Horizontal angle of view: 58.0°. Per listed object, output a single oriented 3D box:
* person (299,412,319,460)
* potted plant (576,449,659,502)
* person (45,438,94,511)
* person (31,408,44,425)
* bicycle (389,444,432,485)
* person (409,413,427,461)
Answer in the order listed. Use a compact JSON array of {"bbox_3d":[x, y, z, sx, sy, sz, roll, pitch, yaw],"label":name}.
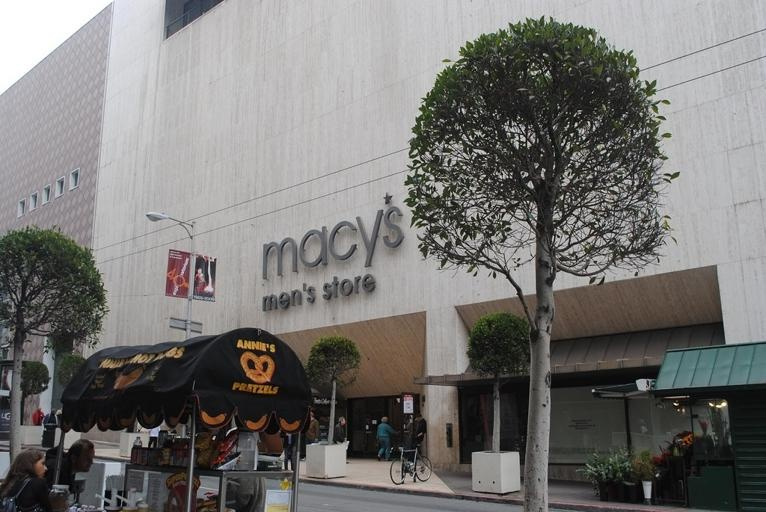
[{"bbox_3d":[-3.281,7.571,29.351,0.808,2.899,0.654,-2,24,-20],"label":"person"},{"bbox_3d":[7.701,6.964,22.096,1.619,1.381,1.552,-4,-13,20],"label":"potted plant"},{"bbox_3d":[-7.203,4.918,15.872,1.574,1.375,0.677,-15,-21,39],"label":"person"},{"bbox_3d":[-20.818,9.597,41.769,0.521,1.066,1.783,6,-19,-23],"label":"person"},{"bbox_3d":[0.962,7.621,25.305,0.892,1.249,1.997,-10,-19,27],"label":"bicycle"},{"bbox_3d":[1.403,7.295,27.848,0.728,2.289,0.913,4,-47,3],"label":"person"}]
